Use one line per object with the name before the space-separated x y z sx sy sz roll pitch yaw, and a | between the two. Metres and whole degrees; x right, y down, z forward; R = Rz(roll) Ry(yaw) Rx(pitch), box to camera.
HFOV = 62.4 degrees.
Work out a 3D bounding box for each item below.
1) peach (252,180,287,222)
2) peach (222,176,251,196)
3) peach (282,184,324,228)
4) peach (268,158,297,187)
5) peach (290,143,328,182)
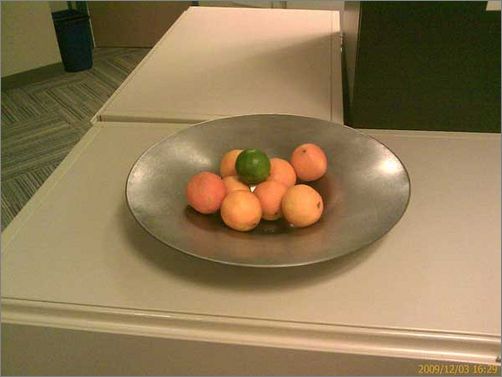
peach | 0.035 0.023 0.740 0.059 0.077 0.062 -2 -1 -22
peach | -0.031 -0.010 0.773 0.041 0.037 0.035 -8 9 7
peach | 0.091 0.033 0.766 0.070 0.076 0.068 -26 -4 -12
peach | 0.053 -0.025 0.843 0.052 0.054 0.050 -4 -27 -47
peach | 0.117 -0.053 0.818 0.070 0.067 0.069 -36 19 -1
